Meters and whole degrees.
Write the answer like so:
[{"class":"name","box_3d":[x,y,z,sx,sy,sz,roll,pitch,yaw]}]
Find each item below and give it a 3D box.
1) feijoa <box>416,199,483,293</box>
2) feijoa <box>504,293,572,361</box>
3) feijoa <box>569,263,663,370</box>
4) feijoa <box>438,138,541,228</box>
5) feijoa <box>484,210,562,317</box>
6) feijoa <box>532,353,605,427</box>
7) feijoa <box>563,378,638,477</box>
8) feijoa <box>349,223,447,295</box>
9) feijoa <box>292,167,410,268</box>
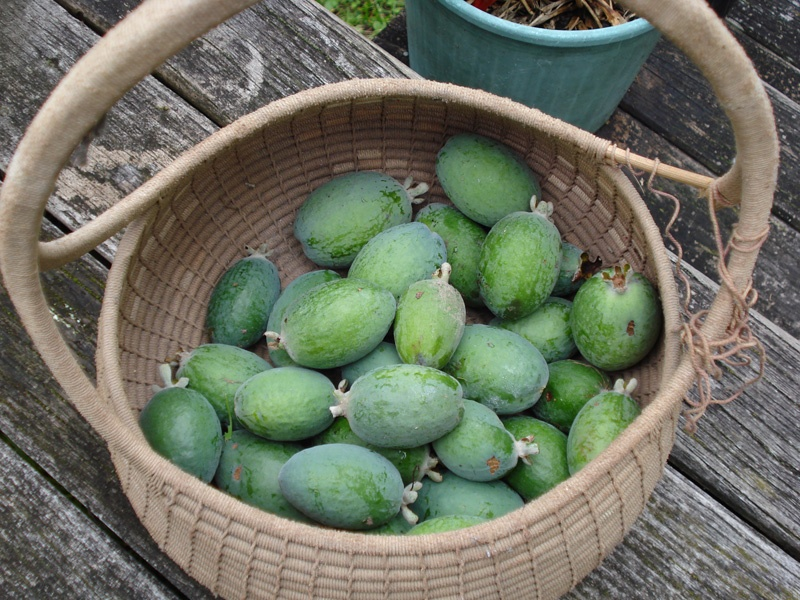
[{"class":"feijoa","box_3d":[0.099,-0.100,1.424,0.095,0.096,0.161,-45,76,13]},{"class":"feijoa","box_3d":[0.237,0.050,1.372,0.108,0.083,0.083,1,89,6]},{"class":"feijoa","box_3d":[0.352,0.026,1.304,0.143,0.212,0.149,11,58,10]},{"class":"feijoa","box_3d":[0.144,-0.206,1.400,0.178,0.107,0.116,39,101,5]},{"class":"feijoa","box_3d":[0.200,-0.048,1.343,0.147,0.134,0.222,0,73,10]},{"class":"feijoa","box_3d":[0.275,0.150,1.339,0.114,0.089,0.089,14,55,20]},{"class":"feijoa","box_3d":[0.304,0.187,1.251,0.079,0.090,0.164,28,60,29]},{"class":"feijoa","box_3d":[-0.003,-0.067,1.354,0.149,0.087,0.104,-30,109,1]},{"class":"feijoa","box_3d":[-0.083,-0.138,1.443,0.221,0.168,0.171,-5,45,-5]}]
